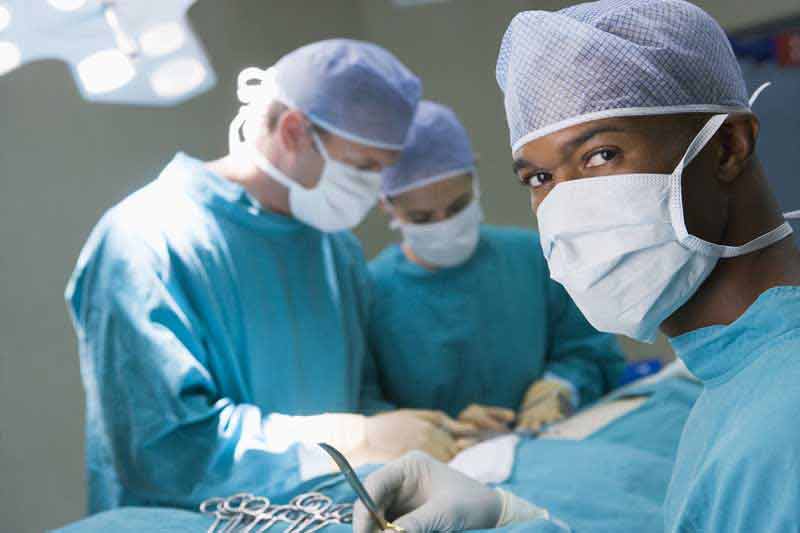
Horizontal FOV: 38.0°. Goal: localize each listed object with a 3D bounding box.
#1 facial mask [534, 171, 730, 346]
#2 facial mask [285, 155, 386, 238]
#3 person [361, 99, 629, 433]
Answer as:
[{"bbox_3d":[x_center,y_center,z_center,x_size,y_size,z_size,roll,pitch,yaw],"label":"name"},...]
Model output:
[{"bbox_3d":[0.521,-0.039,2.759,0.273,0.376,0.407,-8,22,-22],"label":"facial mask"},{"bbox_3d":[-0.163,-0.173,3.008,0.205,0.126,0.178,38,14,10],"label":"facial mask"},{"bbox_3d":[0.203,0.055,3.118,0.375,0.802,0.710,14,30,28],"label":"person"}]
